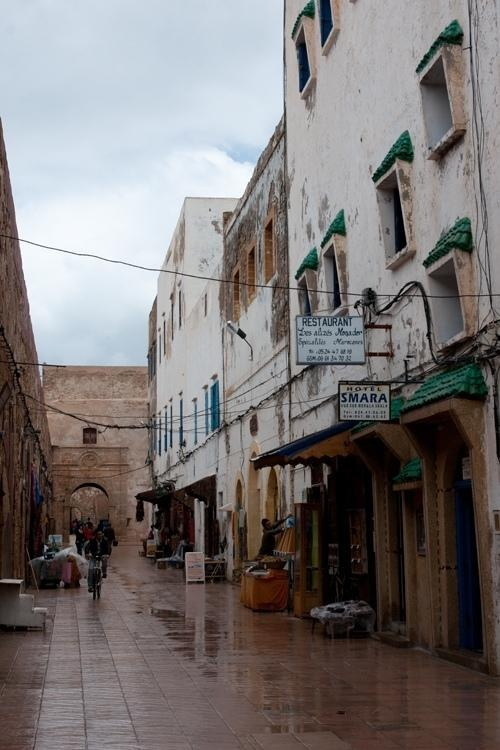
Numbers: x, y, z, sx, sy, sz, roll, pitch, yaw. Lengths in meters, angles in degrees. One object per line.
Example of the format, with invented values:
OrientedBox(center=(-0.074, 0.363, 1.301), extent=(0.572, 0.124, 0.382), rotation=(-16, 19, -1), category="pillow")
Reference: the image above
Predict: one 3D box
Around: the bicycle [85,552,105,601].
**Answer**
OrientedBox(center=(-3.339, 4.350, 16.132), extent=(0.367, 0.786, 0.991), rotation=(0, -12, -3), category="bicycle")

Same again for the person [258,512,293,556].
OrientedBox(center=(0.443, 3.278, 15.127), extent=(0.836, 0.842, 0.781), rotation=(5, -13, -24), category="person")
